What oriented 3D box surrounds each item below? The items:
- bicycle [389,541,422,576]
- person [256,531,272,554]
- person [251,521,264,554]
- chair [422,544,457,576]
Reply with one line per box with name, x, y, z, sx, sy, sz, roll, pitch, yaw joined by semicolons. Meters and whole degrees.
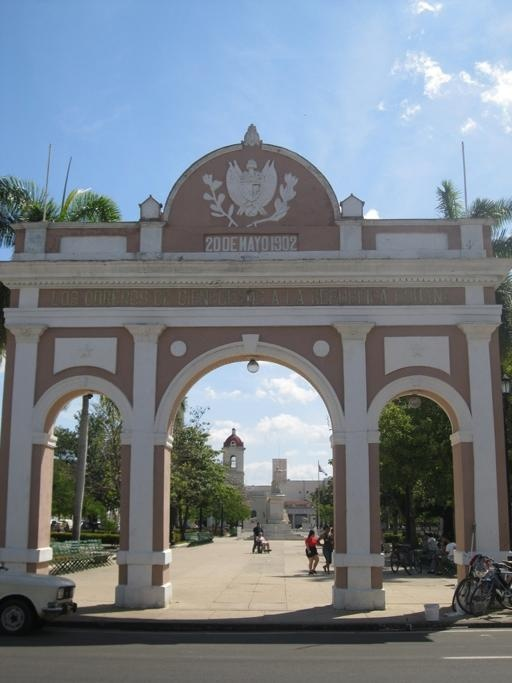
bicycle;4.491;6.680;24.746;0.637;0.797;1.313;4;-13;-16
person;0.372;9.232;36.558;0.678;0.704;1.081;1;-6;0
person;0.100;8.914;36.510;0.769;0.937;1.441;1;-4;1
chair;5.576;6.631;24.320;0.783;1.100;1.967;1;-6;2
